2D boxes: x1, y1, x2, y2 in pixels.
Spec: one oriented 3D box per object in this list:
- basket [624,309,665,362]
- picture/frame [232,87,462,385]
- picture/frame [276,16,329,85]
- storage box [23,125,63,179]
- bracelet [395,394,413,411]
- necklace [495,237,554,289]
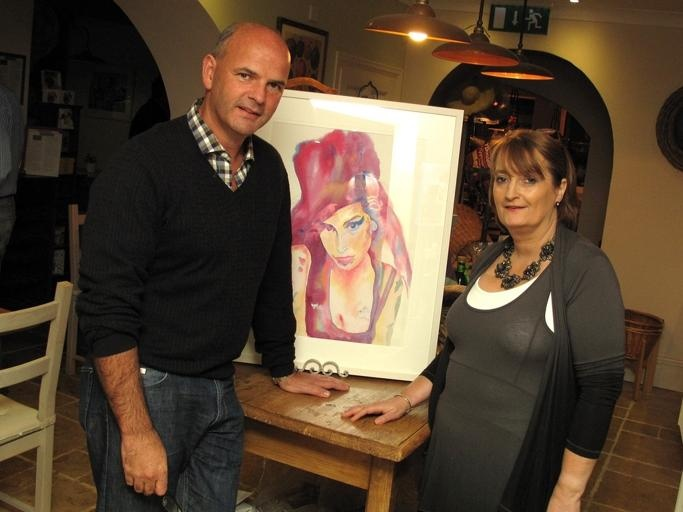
[{"bbox_3d":[2.846,0.806,4.809,0.315,0.428,0.393,11,12,31],"label":"basket"},{"bbox_3d":[0.014,-0.054,1.675,0.782,1.072,0.042,7,-1,3],"label":"picture/frame"},{"bbox_3d":[-0.356,-1.758,4.549,0.015,0.507,0.646,16,18,34],"label":"picture/frame"},{"bbox_3d":[-2.998,-1.011,5.056,0.328,0.509,0.130,5,4,-19],"label":"storage box"},{"bbox_3d":[0.199,0.476,1.608,0.019,0.044,0.050,-25,14,0],"label":"bracelet"},{"bbox_3d":[0.541,0.032,1.501,0.014,0.139,0.141,22,19,-30],"label":"necklace"}]
